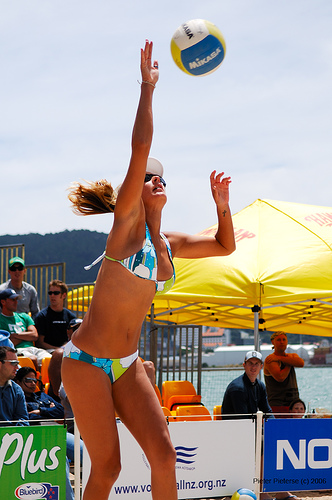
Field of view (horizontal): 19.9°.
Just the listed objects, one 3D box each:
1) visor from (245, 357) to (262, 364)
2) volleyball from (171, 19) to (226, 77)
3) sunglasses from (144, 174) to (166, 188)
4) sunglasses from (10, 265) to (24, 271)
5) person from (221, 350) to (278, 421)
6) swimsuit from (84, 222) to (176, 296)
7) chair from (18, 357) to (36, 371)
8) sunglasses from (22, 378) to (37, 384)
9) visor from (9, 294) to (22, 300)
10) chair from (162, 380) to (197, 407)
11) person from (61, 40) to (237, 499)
[{"bbox_3d":[0.884,1.131,9.708,0.161,0.058,0.079,-1,-4,0],"label":"visor"},{"bbox_3d":[0.205,-1.363,6.375,0.356,0.387,0.151,-1,-5,0],"label":"volleyball"},{"bbox_3d":[-0.074,-0.428,5.680,0.120,0.075,0.231,-1,-4,3],"label":"sunglasses"},{"bbox_3d":[-1.845,0.226,11.680,0.179,0.072,0.067,2,-5,-32],"label":"sunglasses"},{"bbox_3d":[0.858,1.398,9.563,0.518,0.716,0.623,4,-2,-29],"label":"person"},{"bbox_3d":[-0.168,0.075,5.507,0.413,0.366,0.430,0,-8,1],"label":"swimsuit"},{"bbox_3d":[-1.481,1.197,10.043,0.157,0.137,0.200,0,0,-24],"label":"chair"},{"bbox_3d":[-1.318,1.273,9.220,0.086,0.054,0.199,-3,-5,25],"label":"sunglasses"},{"bbox_3d":[-1.740,0.537,10.867,0.078,0.052,0.135,-3,-5,28],"label":"visor"},{"bbox_3d":[0.096,1.773,11.702,0.328,0.299,0.275,3,-9,-25],"label":"chair"},{"bbox_3d":[-0.109,0.120,5.631,0.561,2.591,0.919,-4,-6,37],"label":"person"}]
